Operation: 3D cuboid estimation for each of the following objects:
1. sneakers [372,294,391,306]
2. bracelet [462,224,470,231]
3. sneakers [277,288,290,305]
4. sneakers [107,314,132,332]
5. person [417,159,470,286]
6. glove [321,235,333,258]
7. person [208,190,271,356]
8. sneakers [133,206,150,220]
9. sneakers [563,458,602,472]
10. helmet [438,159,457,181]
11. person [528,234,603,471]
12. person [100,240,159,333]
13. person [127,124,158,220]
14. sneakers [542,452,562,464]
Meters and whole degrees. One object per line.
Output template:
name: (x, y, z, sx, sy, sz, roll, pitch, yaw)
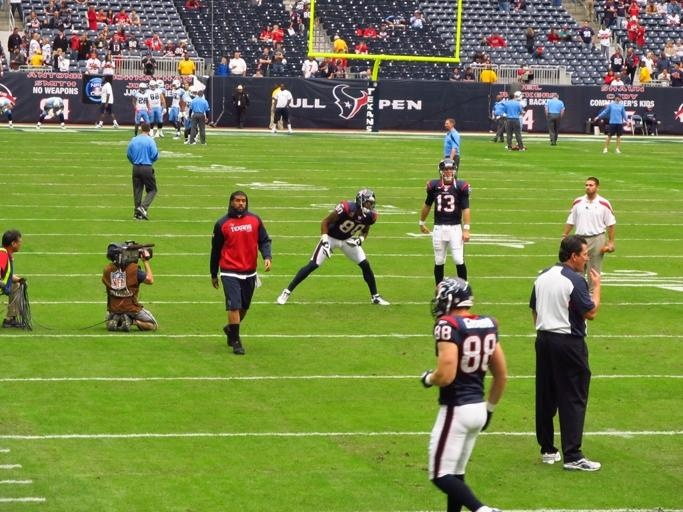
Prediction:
sneakers: (0.813, 0.832, 28.791, 0.433, 0.171, 0.147, 4, 7, 31)
bracelet: (2.425, -0.567, 29.001, 0.159, 0.175, 0.189, 2, -4, 2)
sneakers: (-1.090, 0.756, 28.807, 0.203, 0.150, 0.419, -31, 10, 3)
sneakers: (-3.926, 1.166, 26.790, 0.272, 0.204, 0.405, 11, -28, -12)
person: (2.065, -0.657, 29.074, 0.673, 2.420, 0.943, -4, 8, -40)
glove: (-0.261, -0.205, 27.967, 0.141, 0.340, 0.276, -7, 26, 19)
person: (-1.694, 0.278, 25.506, 0.962, 2.763, 0.546, -1, 6, -14)
sneakers: (-4.761, -1.011, 35.946, 0.195, 0.168, 0.406, -26, -6, -3)
sneakers: (3.513, 3.026, 21.997, 0.548, 0.213, 0.200, -1, 3, 0)
helmet: (2.056, -1.666, 29.071, 0.306, 0.412, 0.572, 1, 6, 2)
person: (3.226, 1.406, 21.831, 0.994, 3.400, 0.399, 2, 6, 8)
person: (-3.741, 0.533, 26.625, 0.885, 1.595, 0.590, 0, 6, -11)
person: (-4.729, -2.051, 36.025, 0.670, 2.312, 0.981, 0, 6, -9)
sneakers: (3.083, 2.946, 22.060, 0.302, 0.108, 0.143, -4, -7, 45)
